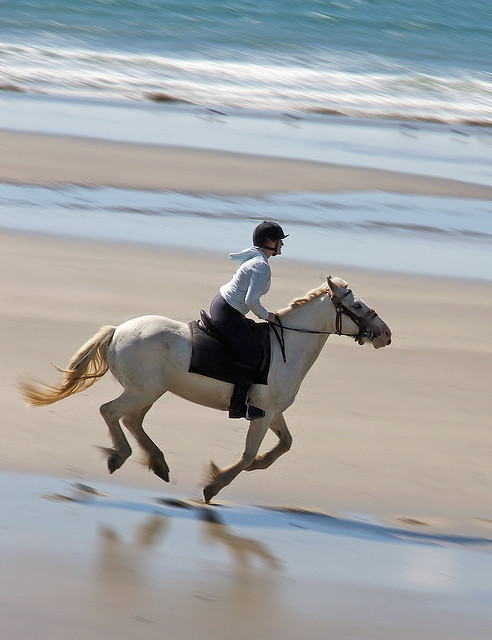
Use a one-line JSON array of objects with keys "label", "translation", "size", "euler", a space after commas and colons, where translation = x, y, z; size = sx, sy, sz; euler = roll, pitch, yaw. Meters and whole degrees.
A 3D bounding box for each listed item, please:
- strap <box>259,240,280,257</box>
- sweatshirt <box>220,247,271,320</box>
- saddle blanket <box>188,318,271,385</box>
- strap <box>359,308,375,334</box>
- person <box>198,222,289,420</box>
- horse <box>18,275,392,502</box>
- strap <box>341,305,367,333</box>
[{"label": "strap", "translation": [0.198, -0.610, 6.905], "size": [0.130, 0.118, 0.089], "euler": [5, 3, 20]}, {"label": "sweatshirt", "translation": [0.066, -0.336, 6.848], "size": [0.599, 0.500, 0.640], "euler": [11, 16, 1]}, {"label": "saddle blanket", "translation": [-0.140, 0.232, 6.862], "size": [0.707, 0.544, 0.407], "euler": [6, 22, -11]}, {"label": "strap", "translation": [1.036, -0.007, 7.010], "size": [0.081, 0.166, 0.149], "euler": [25, 1, 22]}, {"label": "person", "translation": [0.012, 0.022, 6.810], "size": [0.643, 1.662, 0.899], "euler": [6, 23, -20]}, {"label": "horse", "translation": [-0.317, 0.547, 6.957], "size": [2.716, 2.014, 0.959], "euler": [5, 24, -14]}, {"label": "strap", "translation": [0.929, -0.023, 6.989], "size": [0.354, 0.047, 0.031], "euler": [38, 37, 10]}]
